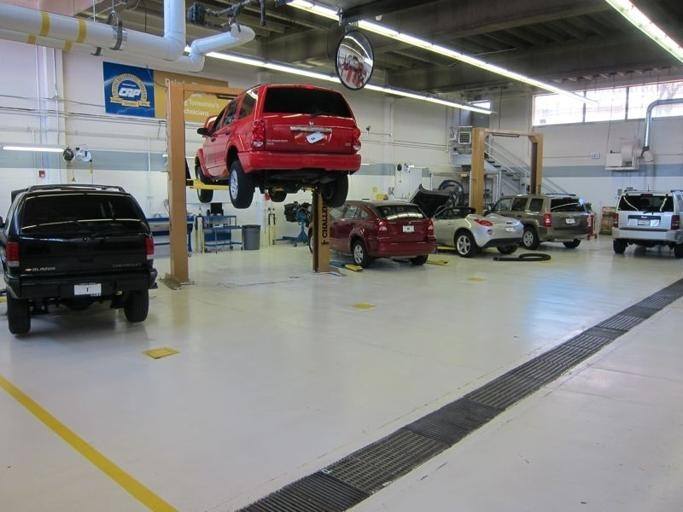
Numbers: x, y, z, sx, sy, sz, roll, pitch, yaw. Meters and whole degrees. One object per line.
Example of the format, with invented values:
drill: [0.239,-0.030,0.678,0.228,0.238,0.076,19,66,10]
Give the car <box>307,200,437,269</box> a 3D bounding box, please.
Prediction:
car: [0.872,-0.528,11.655,2.382,1.612,1.226,8,12,40]

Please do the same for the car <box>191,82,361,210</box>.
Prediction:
car: [-1.455,-1.990,9.251,2.242,1.902,4.336,-3,9,-26]

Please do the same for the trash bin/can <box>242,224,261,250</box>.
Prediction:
trash bin/can: [-3.059,-0.631,16.525,0.732,0.926,0.722,-1,0,-18]

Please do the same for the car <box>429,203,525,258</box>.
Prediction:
car: [3.733,-0.771,13.999,1.344,1.040,2.615,-1,10,-25]

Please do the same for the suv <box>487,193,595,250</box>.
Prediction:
suv: [6.313,-1.241,15.476,1.694,1.308,3.081,-2,12,-21]
